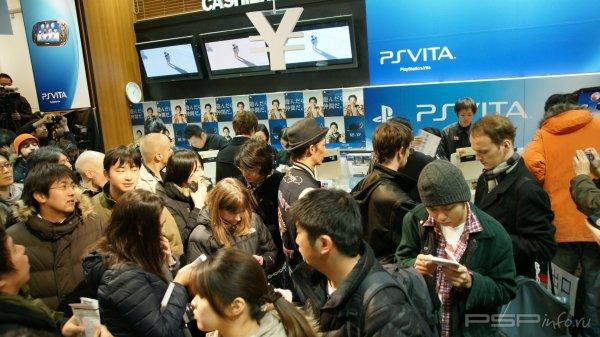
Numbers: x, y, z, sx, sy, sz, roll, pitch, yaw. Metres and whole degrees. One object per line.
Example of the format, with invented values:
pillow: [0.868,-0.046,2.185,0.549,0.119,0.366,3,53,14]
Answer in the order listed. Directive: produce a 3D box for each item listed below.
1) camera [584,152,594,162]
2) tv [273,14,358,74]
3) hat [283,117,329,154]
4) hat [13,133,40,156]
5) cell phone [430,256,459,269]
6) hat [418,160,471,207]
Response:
camera: [3.244,-0.132,4.701,0.074,0.097,0.104,0,1,-40]
tv: [0.322,-2.067,6.871,1.817,1.145,0.186,0,23,17]
hat: [0.059,-0.390,4.573,0.426,0.159,0.358,-35,24,-23]
hat: [-4.097,-0.350,6.141,0.336,0.254,0.240,-17,1,25]
cell phone: [1.229,0.798,3.547,0.242,0.116,0.132,0,7,6]
hat: [1.259,0.166,3.760,0.428,0.355,0.388,-45,17,-32]
